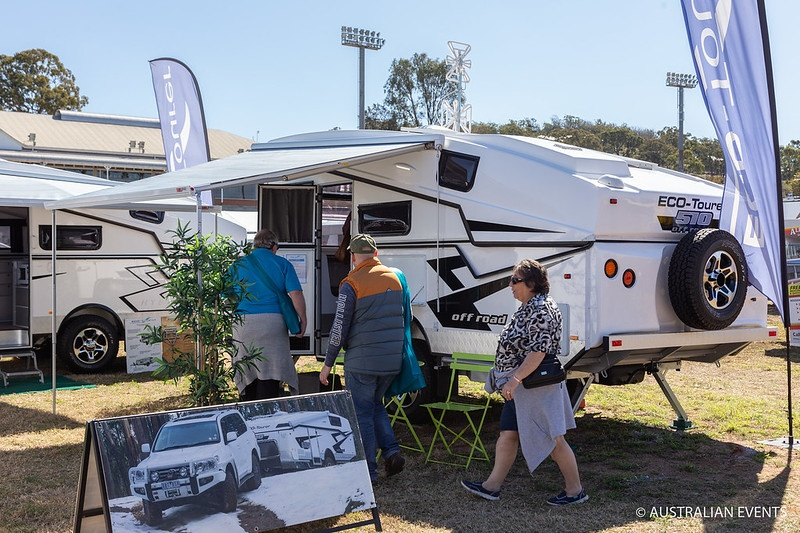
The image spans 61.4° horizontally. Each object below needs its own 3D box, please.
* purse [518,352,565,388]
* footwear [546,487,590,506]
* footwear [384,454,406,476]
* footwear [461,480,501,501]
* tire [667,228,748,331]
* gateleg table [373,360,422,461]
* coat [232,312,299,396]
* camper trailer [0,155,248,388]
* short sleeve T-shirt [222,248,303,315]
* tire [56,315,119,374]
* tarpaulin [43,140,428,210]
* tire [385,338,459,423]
[{"bbox_3d":[1.260,0.953,5.989,0.346,0.274,0.115,-16,-9,-1],"label":"purse"},{"bbox_3d":[1.550,2.105,6.256,0.393,0.149,0.147,1,-5,-7],"label":"footwear"},{"bbox_3d":[-0.042,1.947,6.697,0.124,0.125,0.290,0,-24,-16],"label":"footwear"},{"bbox_3d":[0.766,2.100,6.351,0.372,0.139,0.139,22,-13,16],"label":"footwear"},{"bbox_3d":[3.455,0.143,7.524,1.068,1.100,0.349,-1,0,-31],"label":"tire"},{"bbox_3d":[0.024,1.704,8.004,0.529,0.730,0.422,-3,2,11],"label":"gateleg table"},{"bbox_3d":[-1.412,0.924,7.099,0.639,0.901,0.277,0,4,-12],"label":"coat"},{"bbox_3d":[-4.314,0.053,11.609,4.276,3.253,3.736,-3,5,-34],"label":"camper trailer"},{"bbox_3d":[-1.449,0.157,7.227,0.808,0.728,0.391,-3,6,7],"label":"short sleeve T-shirt"},{"bbox_3d":[-5.200,1.234,11.226,1.007,1.036,0.361,-3,0,-42],"label":"tire"},{"bbox_3d":[-1.977,-1.277,8.308,3.752,0.336,4.007,-18,23,-36],"label":"tarpaulin"},{"bbox_3d":[0.247,1.542,8.864,0.420,1.052,1.043,14,-22,-23],"label":"tire"}]
